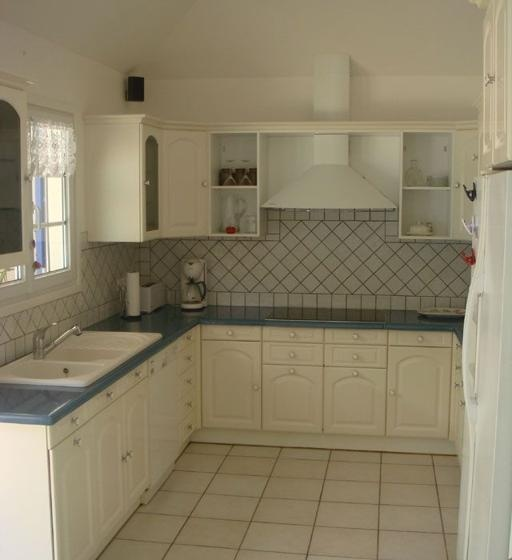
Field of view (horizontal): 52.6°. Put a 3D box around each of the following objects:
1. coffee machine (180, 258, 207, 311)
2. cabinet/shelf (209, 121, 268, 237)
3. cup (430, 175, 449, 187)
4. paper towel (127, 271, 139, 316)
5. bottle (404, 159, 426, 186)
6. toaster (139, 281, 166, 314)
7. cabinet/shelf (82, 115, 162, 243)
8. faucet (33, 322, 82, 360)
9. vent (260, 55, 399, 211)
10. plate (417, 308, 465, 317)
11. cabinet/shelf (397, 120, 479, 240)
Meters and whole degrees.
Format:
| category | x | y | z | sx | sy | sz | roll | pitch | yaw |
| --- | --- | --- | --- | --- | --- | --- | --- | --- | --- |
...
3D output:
| category | x | y | z | sx | sy | sz | roll | pitch | yaw |
| --- | --- | --- | --- | --- | --- | --- | --- | --- | --- |
| coffee machine | -0.493 | 0.029 | 4.064 | 0.210 | 0.385 | 0.360 | 0 | 3 | -7 |
| cabinet/shelf | -0.148 | -0.702 | 4.104 | 0.367 | 0.862 | 0.258 | -1 | -10 | 0 |
| cup | 1.322 | -0.709 | 3.710 | 0.086 | 0.061 | 0.092 | 0 | 9 | 0 |
| paper towel | -0.888 | 0.106 | 3.726 | 0.095 | 0.318 | 0.091 | -1 | 3 | -22 |
| bottle | 1.155 | -0.780 | 3.753 | 0.153 | 0.220 | 0.175 | 0 | 3 | 7 |
| toaster | -0.805 | 0.138 | 3.985 | 0.074 | 0.138 | 0.209 | 1 | 11 | 12 |
| cabinet/shelf | -1.000 | -0.675 | 3.558 | 0.369 | 0.756 | 0.468 | 8 | 22 | -6 |
| faucet | -0.977 | 0.273 | 2.576 | 0.255 | 0.131 | 0.043 | -23 | -20 | 14 |
| vent | 0.443 | -1.115 | 4.045 | 1.007 | 1.289 | 1.017 | 0 | 3 | 4 |
| plate | 1.339 | 0.230 | 3.713 | 0.172 | 0.028 | 0.136 | 0 | 11 | 14 |
| cabinet/shelf | 1.266 | -0.650 | 3.759 | 0.589 | 0.949 | 0.267 | 9 | -28 | 19 |
